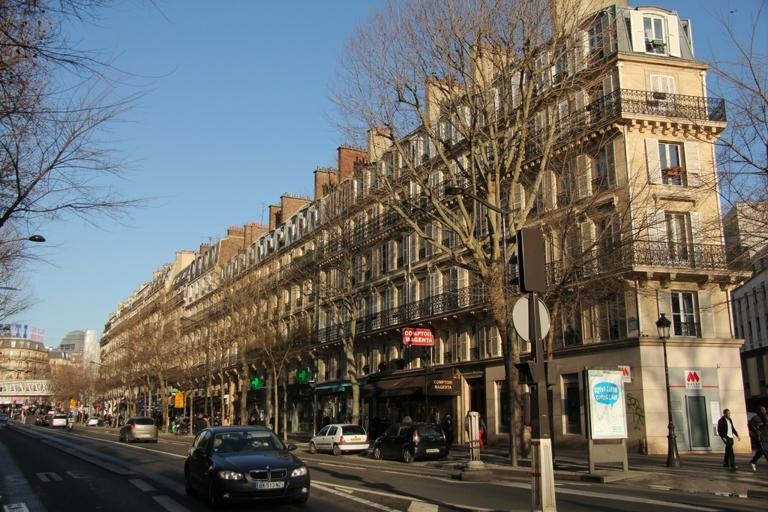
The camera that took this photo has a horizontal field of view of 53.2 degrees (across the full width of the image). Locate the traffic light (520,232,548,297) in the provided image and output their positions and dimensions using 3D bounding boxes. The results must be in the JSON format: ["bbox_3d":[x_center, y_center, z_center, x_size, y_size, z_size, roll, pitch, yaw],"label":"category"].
[{"bbox_3d":[4.458,0.075,22.874,0.903,2.045,0.686,5,-20,-20],"label":"traffic light"}]

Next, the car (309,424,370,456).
[{"bbox_3d":[-2.458,9.887,41.771,1.634,1.308,2.864,9,-13,-37],"label":"car"}]

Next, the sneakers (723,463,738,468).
[{"bbox_3d":[14.546,8.746,32.105,0.200,0.235,0.595,5,-17,-30],"label":"sneakers"}]

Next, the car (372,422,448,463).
[{"bbox_3d":[1.284,9.169,37.926,3.367,1.989,1.517,-18,-25,38],"label":"car"}]

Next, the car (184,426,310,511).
[{"bbox_3d":[-4.585,6.664,24.801,4.228,2.626,1.931,-9,-20,17],"label":"car"}]

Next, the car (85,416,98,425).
[{"bbox_3d":[-38.728,21.519,100.698,2.837,0.965,1.335,-16,-20,40],"label":"car"}]

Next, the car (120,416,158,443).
[{"bbox_3d":[-16.446,11.418,50.914,1.389,1.148,2.716,5,-11,-27],"label":"car"}]
